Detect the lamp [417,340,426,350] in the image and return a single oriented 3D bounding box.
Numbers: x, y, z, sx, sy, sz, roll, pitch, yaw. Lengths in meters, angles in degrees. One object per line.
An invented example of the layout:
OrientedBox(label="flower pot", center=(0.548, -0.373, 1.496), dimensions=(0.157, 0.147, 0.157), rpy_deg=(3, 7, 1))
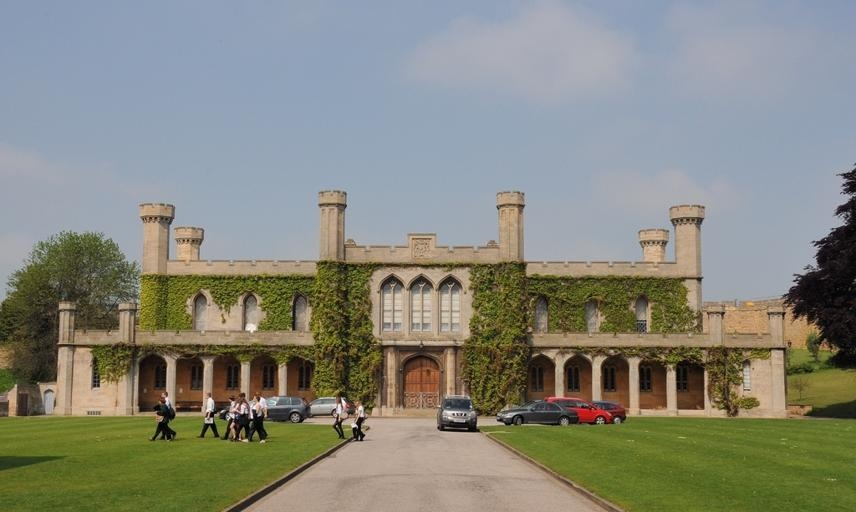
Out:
OrientedBox(label="lamp", center=(-0.626, 8.473, 105.634), dimensions=(0.639, 0.862, 0.328), rpy_deg=(-2, -12, -1))
